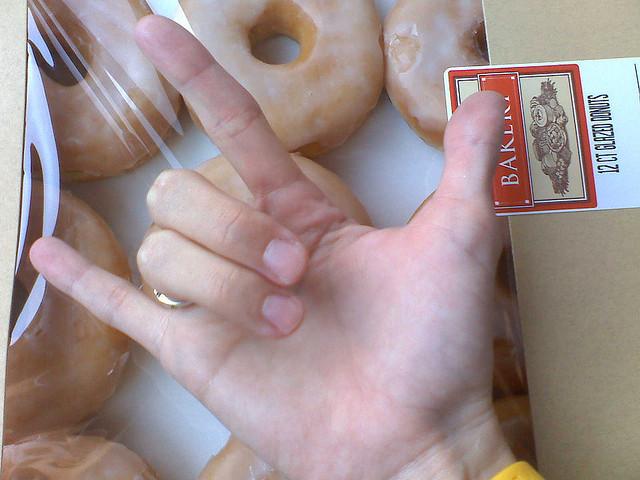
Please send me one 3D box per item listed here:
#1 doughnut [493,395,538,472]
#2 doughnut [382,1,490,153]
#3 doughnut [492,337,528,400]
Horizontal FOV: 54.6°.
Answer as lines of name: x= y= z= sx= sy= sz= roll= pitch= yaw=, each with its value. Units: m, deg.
doughnut: x=0.248 y=0.246 z=0.789 sx=0.046 sy=0.043 sz=0.090 roll=-1 pitch=79 yaw=4
doughnut: x=0.160 y=-0.246 z=0.887 sx=0.152 sy=0.061 sz=0.204 roll=10 pitch=80 yaw=5
doughnut: x=0.249 y=0.170 z=0.817 sx=0.045 sy=0.019 sz=0.079 roll=-2 pitch=80 yaw=3
